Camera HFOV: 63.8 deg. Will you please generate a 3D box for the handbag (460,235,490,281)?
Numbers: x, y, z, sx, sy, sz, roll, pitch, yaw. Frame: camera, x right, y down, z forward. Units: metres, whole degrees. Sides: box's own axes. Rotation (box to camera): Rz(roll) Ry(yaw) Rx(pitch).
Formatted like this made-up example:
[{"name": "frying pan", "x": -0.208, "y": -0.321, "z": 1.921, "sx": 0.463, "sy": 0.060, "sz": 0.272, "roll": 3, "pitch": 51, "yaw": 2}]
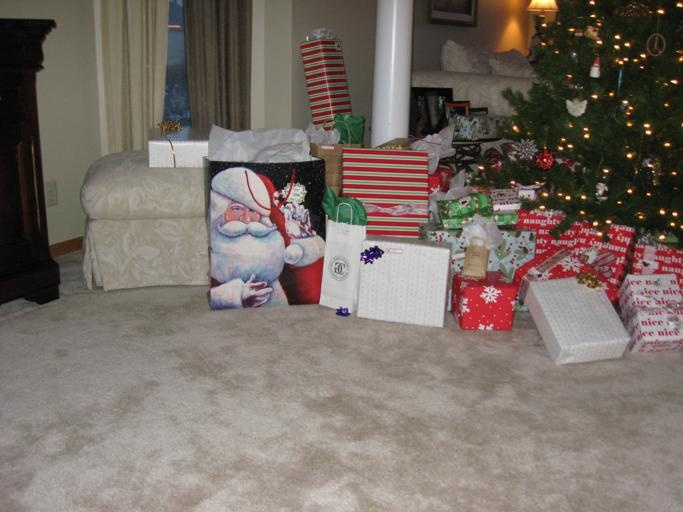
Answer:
[{"name": "handbag", "x": 0.686, "y": -0.004, "z": 2.813, "sx": 0.118, "sy": 0.202, "sz": 0.072, "roll": 9, "pitch": 20, "yaw": 16}]
